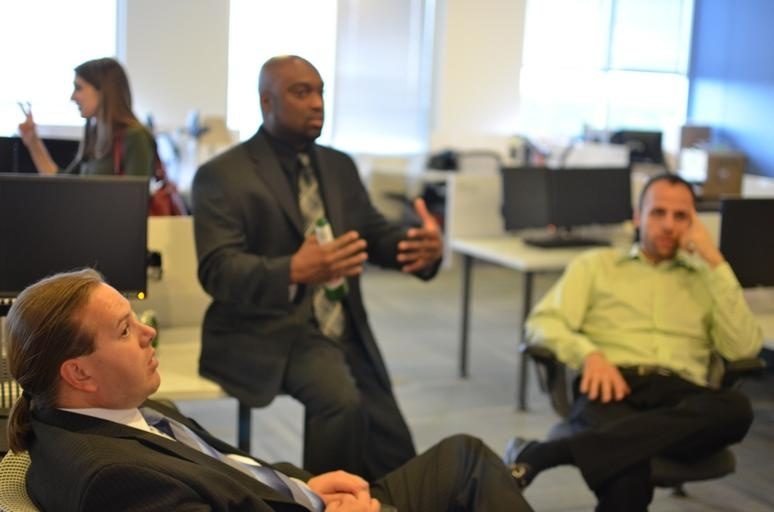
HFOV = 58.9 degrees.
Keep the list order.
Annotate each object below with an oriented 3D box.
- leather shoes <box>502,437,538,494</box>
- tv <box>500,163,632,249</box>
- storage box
[{"bbox_3d":[0.459,0.734,2.403,0.069,0.168,0.124,-5,4,-9],"label":"leather shoes"},{"bbox_3d":[0.616,-0.181,2.358,0.514,0.318,0.270,-2,8,-10],"label":"tv"},{"bbox_3d":[1.152,-0.348,2.471,0.249,0.212,0.242,0,12,0],"label":"storage box"}]
